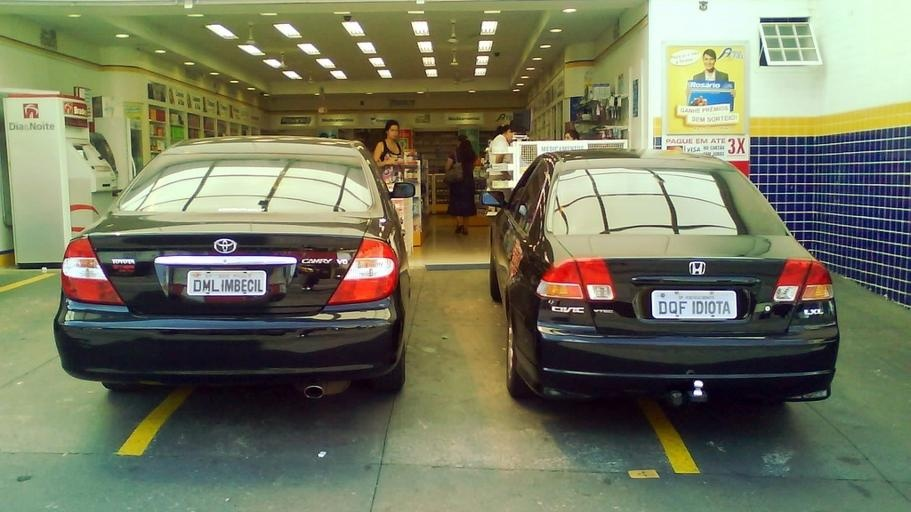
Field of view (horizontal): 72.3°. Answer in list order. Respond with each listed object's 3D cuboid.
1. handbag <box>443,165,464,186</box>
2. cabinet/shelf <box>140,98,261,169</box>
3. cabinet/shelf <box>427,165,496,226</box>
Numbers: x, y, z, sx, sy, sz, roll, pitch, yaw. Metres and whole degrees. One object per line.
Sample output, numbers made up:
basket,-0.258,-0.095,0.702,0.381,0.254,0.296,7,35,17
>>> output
handbag,-0.047,-1.937,14.762,0.403,0.485,0.292,-1,14,11
cabinet/shelf,-7.421,-3.681,18.183,0.256,0.728,3.923,-3,0,29
cabinet/shelf,-0.506,-1.944,20.451,2.985,2.195,0.800,0,2,12
